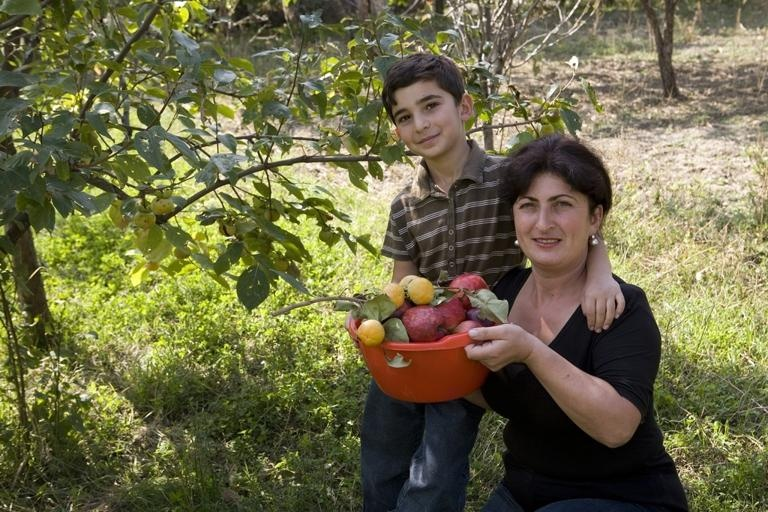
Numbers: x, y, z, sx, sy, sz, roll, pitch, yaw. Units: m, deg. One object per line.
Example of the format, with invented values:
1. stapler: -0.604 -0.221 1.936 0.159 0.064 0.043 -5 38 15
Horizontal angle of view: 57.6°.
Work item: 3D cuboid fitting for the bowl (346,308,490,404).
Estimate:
1. bowl: 0.152 0.450 2.917 0.427 0.204 0.423 -5 5 0
